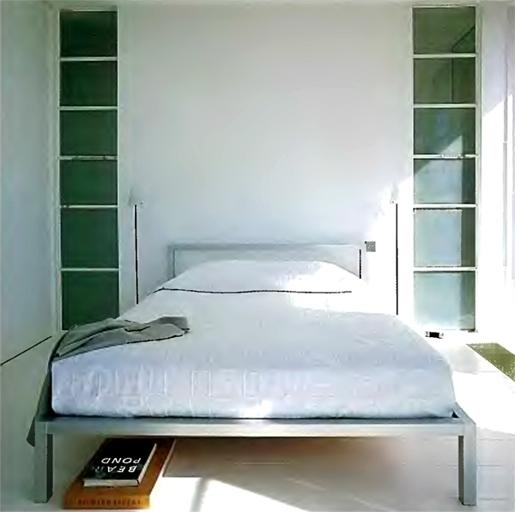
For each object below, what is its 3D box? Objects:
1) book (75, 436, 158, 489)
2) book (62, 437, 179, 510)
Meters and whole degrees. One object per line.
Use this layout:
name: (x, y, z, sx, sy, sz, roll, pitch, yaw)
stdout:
book: (-0.526, 0.804, 2.380, 0.244, 0.048, 0.256, -3, 16, 2)
book: (-0.531, 0.829, 2.386, 0.327, 0.114, 0.370, 1, 12, 6)
